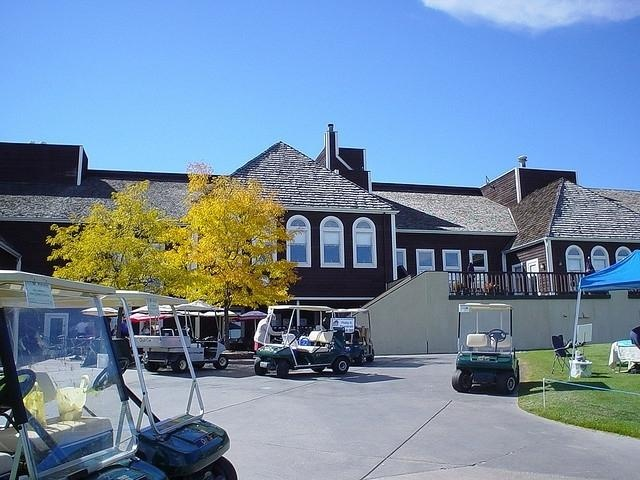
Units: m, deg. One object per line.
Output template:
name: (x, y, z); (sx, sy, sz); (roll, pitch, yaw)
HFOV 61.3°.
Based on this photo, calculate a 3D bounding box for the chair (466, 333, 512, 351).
chair: (4.455, 2.782, 14.344); (1.023, 0.611, 0.560); (4, -8, -7)

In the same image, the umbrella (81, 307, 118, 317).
umbrella: (-2.373, 0.778, 5.852); (0.352, 0.118, 0.363); (11, -18, -27)
